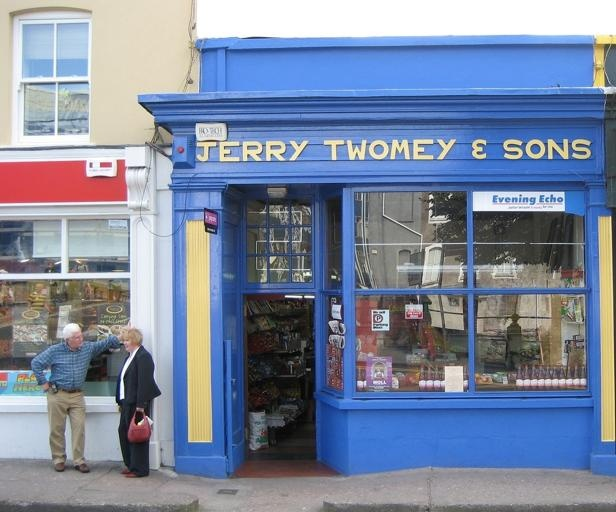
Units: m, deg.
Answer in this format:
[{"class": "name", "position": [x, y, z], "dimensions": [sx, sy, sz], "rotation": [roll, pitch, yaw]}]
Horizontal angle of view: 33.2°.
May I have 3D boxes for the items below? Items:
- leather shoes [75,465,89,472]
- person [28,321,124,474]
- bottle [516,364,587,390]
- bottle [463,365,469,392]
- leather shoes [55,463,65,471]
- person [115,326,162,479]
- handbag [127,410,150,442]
[{"class": "leather shoes", "position": [-3.130, 2.918, 14.218], "dimensions": [0.082, 0.083, 0.219], "rotation": [1, -4, -44]}, {"class": "person", "position": [-3.336, 1.957, 14.302], "dimensions": [1.007, 2.009, 0.337], "rotation": [1, -3, -14]}, {"class": "bottle", "position": [3.434, 1.718, 14.592], "dimensions": [0.958, 0.318, 0.115], "rotation": [-1, -3, 8]}, {"class": "bottle", "position": [2.223, 1.734, 14.564], "dimensions": [0.075, 0.344, 0.031], "rotation": [-1, -3, 12]}, {"class": "leather shoes", "position": [-3.429, 2.895, 14.200], "dimensions": [0.137, 0.112, 0.117], "rotation": [1, -3, -21]}, {"class": "person", "position": [-2.364, 2.008, 14.258], "dimensions": [0.475, 2.017, 0.623], "rotation": [2, -4, -34]}, {"class": "handbag", "position": [-2.314, 2.322, 14.021], "dimensions": [0.309, 0.437, 0.207], "rotation": [1, -3, -12]}]
